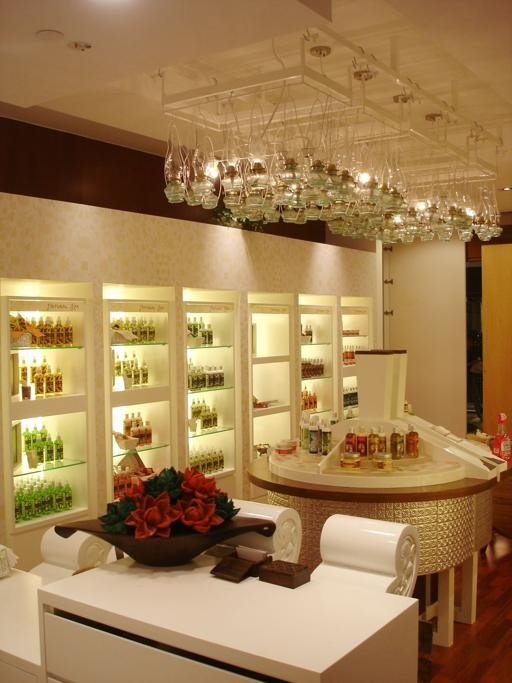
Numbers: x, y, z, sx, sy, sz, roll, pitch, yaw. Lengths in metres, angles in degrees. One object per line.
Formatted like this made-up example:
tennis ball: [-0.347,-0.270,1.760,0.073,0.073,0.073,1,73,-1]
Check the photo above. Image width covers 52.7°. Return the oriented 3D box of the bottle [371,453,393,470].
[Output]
bottle: [0.867,0.817,3.532,0.103,0.074,0.104,0,1,0]

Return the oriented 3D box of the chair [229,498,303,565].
chair: [0.044,0.700,1.823,0.127,0.182,0.196,28,-35,-37]

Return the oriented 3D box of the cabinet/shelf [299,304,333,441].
cabinet/shelf: [0.854,0.069,7.381,0.429,1.128,0.141,2,1,23]

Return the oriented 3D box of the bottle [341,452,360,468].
bottle: [0.671,0.819,3.616,0.099,0.062,0.099,-1,3,0]

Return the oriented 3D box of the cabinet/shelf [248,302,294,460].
cabinet/shelf: [0.119,0.354,6.468,0.490,1.910,0.818,-1,-6,35]

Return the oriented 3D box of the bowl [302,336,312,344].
bowl: [0.739,-0.029,7.380,0.063,0.125,0.234,-1,-6,37]

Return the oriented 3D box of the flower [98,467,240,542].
flower: [-0.246,0.454,1.432,0.246,0.124,0.244,1,-3,-7]

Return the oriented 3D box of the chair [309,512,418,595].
chair: [0.368,0.723,1.708,0.289,0.255,0.214,-7,-13,44]

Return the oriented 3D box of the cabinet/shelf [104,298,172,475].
cabinet/shelf: [-1.056,0.299,4.866,0.605,1.574,0.270,0,21,-6]

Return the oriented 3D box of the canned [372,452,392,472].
canned: [0.869,0.818,3.532,0.105,0.075,0.104,1,-1,-30]

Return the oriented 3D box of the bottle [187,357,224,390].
bottle: [-0.565,0.336,5.622,0.310,0.200,0.313,0,3,0]

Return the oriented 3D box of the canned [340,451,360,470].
canned: [0.669,0.834,3.632,0.101,0.076,0.104,0,1,35]

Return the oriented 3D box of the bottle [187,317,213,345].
bottle: [-0.626,-0.115,5.647,0.144,0.299,0.310,-2,-1,29]
